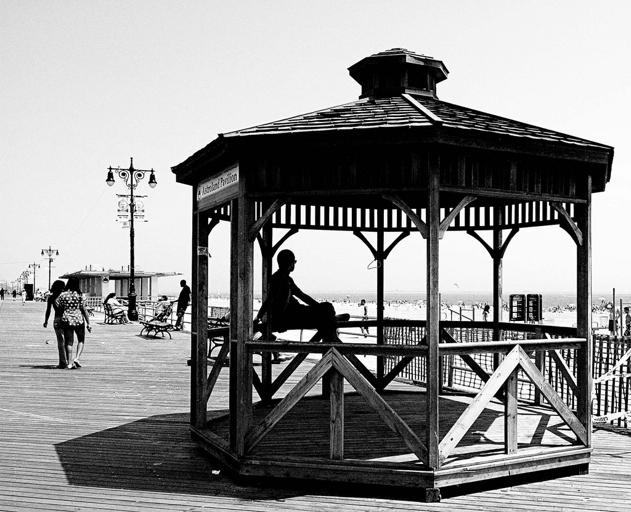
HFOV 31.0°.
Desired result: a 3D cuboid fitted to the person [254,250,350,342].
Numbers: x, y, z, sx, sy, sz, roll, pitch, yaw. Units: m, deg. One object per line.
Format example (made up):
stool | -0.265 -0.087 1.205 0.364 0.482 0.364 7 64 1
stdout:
person | -0.249 0.472 13.378 0.980 1.111 0.780 -2 3 -20
